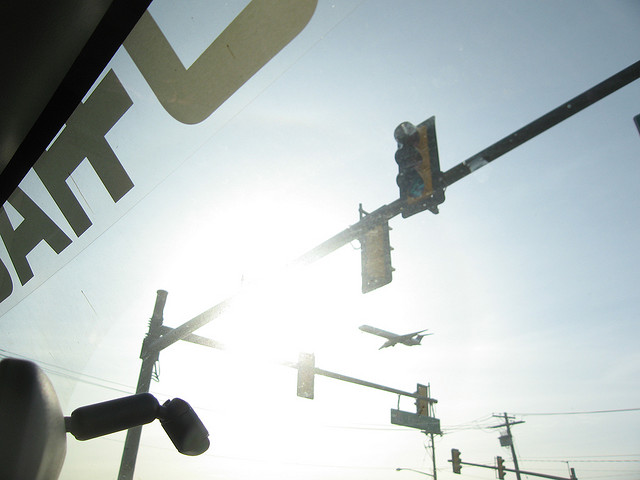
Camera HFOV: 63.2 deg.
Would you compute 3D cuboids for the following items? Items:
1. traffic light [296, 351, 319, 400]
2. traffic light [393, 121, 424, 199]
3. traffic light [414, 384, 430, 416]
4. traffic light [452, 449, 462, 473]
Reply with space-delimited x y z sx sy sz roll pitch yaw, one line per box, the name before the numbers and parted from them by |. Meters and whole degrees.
traffic light | -0.260 2.609 10.080 0.368 0.921 0.656 5 -29 -4
traffic light | 0.880 -0.779 5.175 0.324 0.980 0.065 3 -32 -1
traffic light | 2.213 3.445 11.163 0.241 0.670 0.524 -3 -30 11
traffic light | 3.578 5.714 13.586 0.205 0.624 0.918 -3 -31 11
